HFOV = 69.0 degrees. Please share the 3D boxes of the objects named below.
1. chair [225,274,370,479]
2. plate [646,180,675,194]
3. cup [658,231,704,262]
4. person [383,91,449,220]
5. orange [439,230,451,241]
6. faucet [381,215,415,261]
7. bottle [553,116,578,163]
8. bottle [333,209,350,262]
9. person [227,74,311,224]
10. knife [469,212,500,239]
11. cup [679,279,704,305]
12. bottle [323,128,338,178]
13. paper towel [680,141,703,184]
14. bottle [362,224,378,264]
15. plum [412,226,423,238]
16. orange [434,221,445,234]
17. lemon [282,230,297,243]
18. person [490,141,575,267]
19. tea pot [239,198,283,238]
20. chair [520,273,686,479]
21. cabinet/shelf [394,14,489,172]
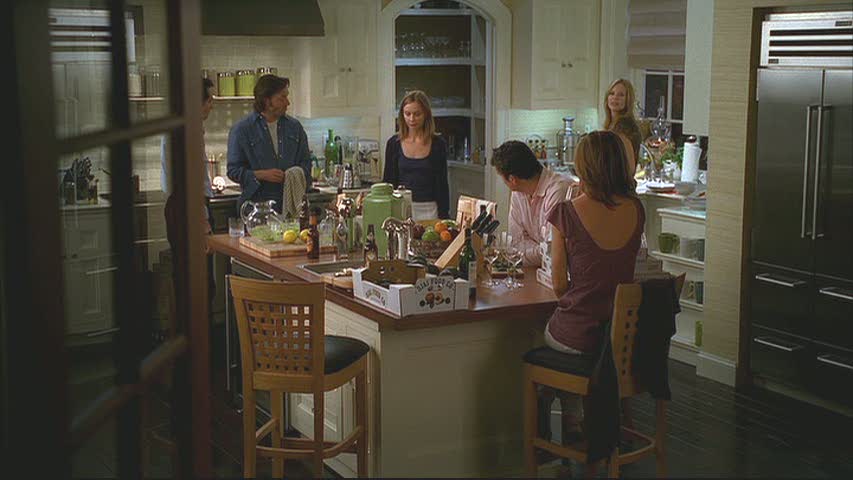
[{"bbox_3d":[-0.646,0.733,3.103,0.693,1.190,0.381,3,12,16],"label":"chair"},{"bbox_3d":[2.112,-0.474,5.606,0.242,0.082,0.237,3,12,18],"label":"plate"},{"bbox_3d":[2.065,0.059,4.995,0.147,0.166,0.354,-3,5,-25],"label":"cup"},{"bbox_3d":[-0.075,-0.724,5.354,0.567,1.064,0.334,8,15,38],"label":"person"},{"bbox_3d":[0.110,-0.025,3.669,0.060,0.055,0.056,-6,-5,14],"label":"orange"},{"bbox_3d":[-0.162,-0.008,3.560,0.168,0.257,0.403,-1,12,-1],"label":"faucet"},{"bbox_3d":[1.703,-1.155,7.415,0.341,0.529,0.296,0,14,13],"label":"bottle"},{"bbox_3d":[-0.540,-0.029,3.885,0.073,0.271,0.161,-2,11,-4],"label":"bottle"},{"bbox_3d":[-1.390,-0.823,5.388,0.720,1.166,0.553,-3,12,-12],"label":"person"},{"bbox_3d":[0.322,-0.076,3.519,0.143,0.164,0.316,0,12,4],"label":"knife"},{"bbox_3d":[2.139,0.413,4.961,0.246,0.220,0.133,-2,7,-1],"label":"cup"},{"bbox_3d":[-0.998,-0.907,6.467,0.161,0.466,0.445,-3,12,-9],"label":"bottle"},{"bbox_3d":[2.359,-0.679,5.523,0.143,0.350,0.137,1,5,-7],"label":"paper towel"},{"bbox_3d":[-0.324,0.021,3.525,0.077,0.222,0.211,-2,12,-6],"label":"bottle"},{"bbox_3d":[-0.053,-0.044,3.734,0.068,0.066,0.065,-1,-28,31],"label":"plum"},{"bbox_3d":[0.073,-0.074,3.735,0.058,0.031,0.058,23,54,27],"label":"orange"},{"bbox_3d":[-0.878,-0.026,4.018,0.087,0.081,0.091,-8,5,5],"label":"lemon"},{"bbox_3d":[0.672,-0.248,3.753,0.555,0.698,0.510,0,16,30],"label":"person"},{"bbox_3d":[-1.114,-0.168,4.191,0.363,0.327,0.275,-2,6,-18],"label":"tea pot"},{"bbox_3d":[0.878,0.698,3.077,0.784,1.090,0.491,0,11,5],"label":"chair"},{"bbox_3d":[0.093,-1.695,7.687,1.353,2.150,0.637,-1,12,-3],"label":"cabinet/shelf"}]
